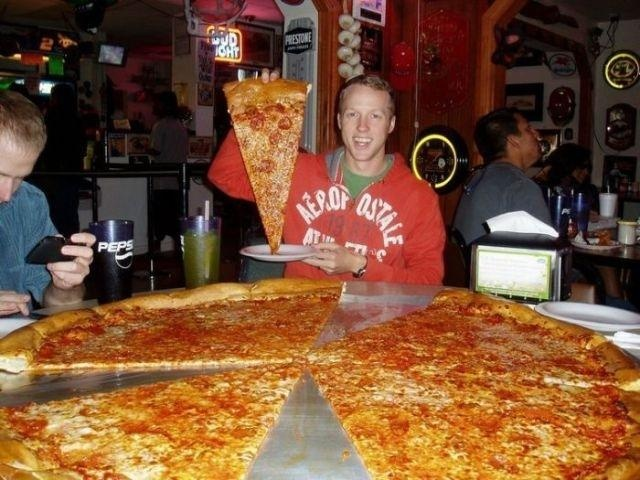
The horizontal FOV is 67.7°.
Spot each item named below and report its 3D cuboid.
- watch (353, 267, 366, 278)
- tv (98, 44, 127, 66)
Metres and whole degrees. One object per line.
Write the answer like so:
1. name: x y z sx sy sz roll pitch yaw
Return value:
1. watch: 0.199 0.162 2.335 0.054 0.014 0.049 -8 -21 -23
2. tv: -4.491 -4.007 10.303 0.553 0.433 0.216 -3 15 -19
